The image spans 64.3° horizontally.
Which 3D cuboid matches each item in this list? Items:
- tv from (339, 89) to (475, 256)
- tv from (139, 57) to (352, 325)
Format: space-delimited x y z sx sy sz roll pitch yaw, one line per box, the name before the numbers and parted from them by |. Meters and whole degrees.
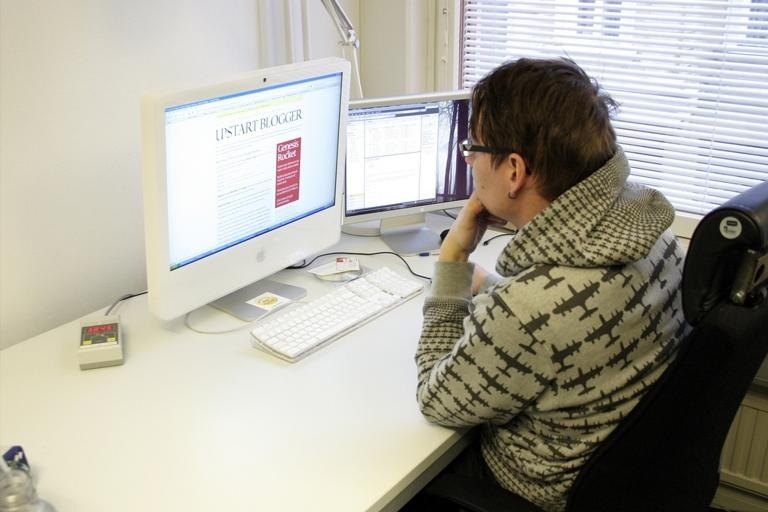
tv | 0.094 -0.298 2.151 0.555 0.529 0.170 -9 30 -21
tv | -0.409 -0.179 1.742 0.224 0.579 0.657 28 38 29
